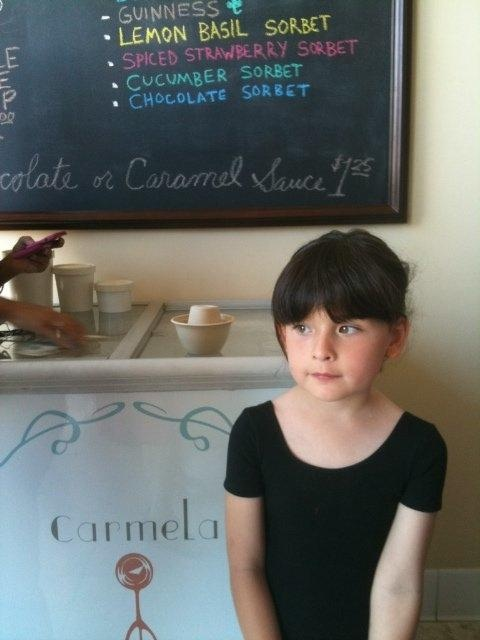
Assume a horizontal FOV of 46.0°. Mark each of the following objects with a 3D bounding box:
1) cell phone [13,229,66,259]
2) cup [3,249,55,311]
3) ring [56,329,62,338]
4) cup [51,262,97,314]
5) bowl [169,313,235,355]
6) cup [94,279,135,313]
[{"bbox_3d":[-0.472,-0.179,1.315,0.122,0.035,0.037,-34,0,18],"label":"cell phone"},{"bbox_3d":[-0.481,-0.089,1.355,0.135,0.137,0.130,11,10,-2],"label":"cup"},{"bbox_3d":[-0.328,0.024,1.021,0.006,0.012,0.009,-9,-3,1],"label":"ring"},{"bbox_3d":[-0.349,-0.071,1.289,0.116,0.114,0.109,0,8,0],"label":"cup"},{"bbox_3d":[-0.067,0.029,1.009,0.123,0.064,0.122,-2,-7,0],"label":"bowl"},{"bbox_3d":[-0.284,-0.053,1.267,0.078,0.058,0.080,-2,4,0],"label":"cup"}]
